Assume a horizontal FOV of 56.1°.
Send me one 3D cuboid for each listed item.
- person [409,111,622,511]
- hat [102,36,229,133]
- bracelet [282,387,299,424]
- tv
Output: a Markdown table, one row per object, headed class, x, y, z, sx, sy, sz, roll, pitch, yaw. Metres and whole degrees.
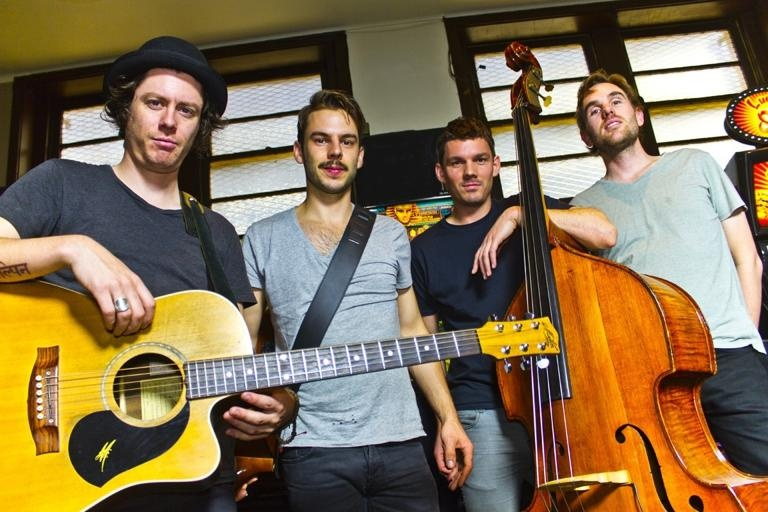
| class | x | y | z | sx | sy | sz | roll | pitch | yaw |
| --- | --- | --- | --- | --- | --- | --- | --- | --- | --- |
| person | 0.773 | 0.352 | 4.638 | 1.111 | 2.228 | 0.689 | -11 | -16 | 29 |
| hat | -1.136 | -0.904 | 3.832 | 0.489 | 0.206 | 0.553 | 4 | -20 | 7 |
| bracelet | -0.454 | 0.742 | 3.618 | 0.115 | 0.154 | 0.058 | 14 | 17 | 40 |
| tv | 0.126 | -0.678 | 5.764 | 1.028 | 0.532 | 0.696 | -2 | 26 | -1 |
